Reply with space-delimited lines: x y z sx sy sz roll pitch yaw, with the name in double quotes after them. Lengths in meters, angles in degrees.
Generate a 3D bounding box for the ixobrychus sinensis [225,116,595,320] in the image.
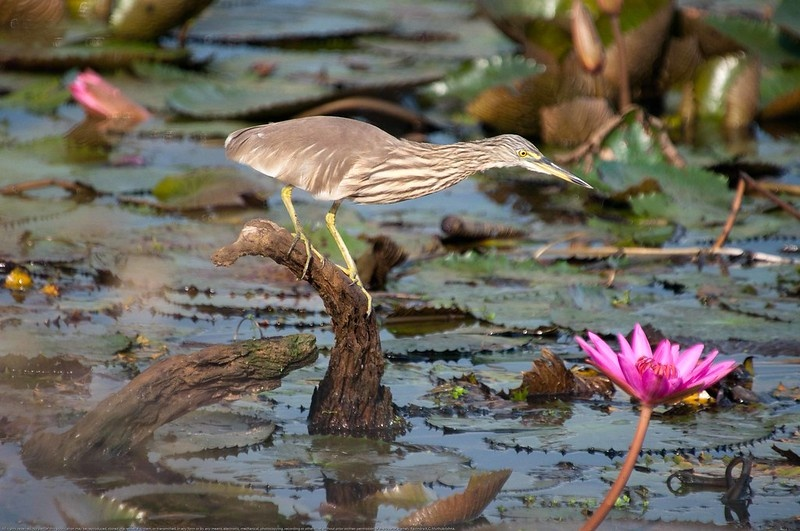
-0.076 -0.468 7.189 1.947 1.070 0.612 -1 5 -21 "ixobrychus sinensis"

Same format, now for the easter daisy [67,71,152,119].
-2.754 -1.599 9.953 0.260 0.446 0.724 5 5 39 "easter daisy"
